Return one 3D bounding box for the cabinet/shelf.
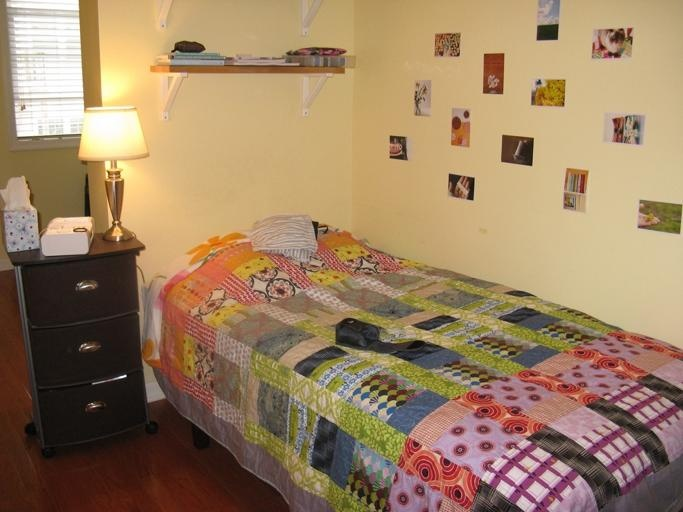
[{"bbox_3d":[-1.373,0.409,2.825,0.734,1.064,0.799,10,17,34],"label":"cabinet/shelf"}]

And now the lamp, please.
[{"bbox_3d":[-1.169,-0.436,2.629,0.316,0.677,0.321,-5,16,-21],"label":"lamp"}]
